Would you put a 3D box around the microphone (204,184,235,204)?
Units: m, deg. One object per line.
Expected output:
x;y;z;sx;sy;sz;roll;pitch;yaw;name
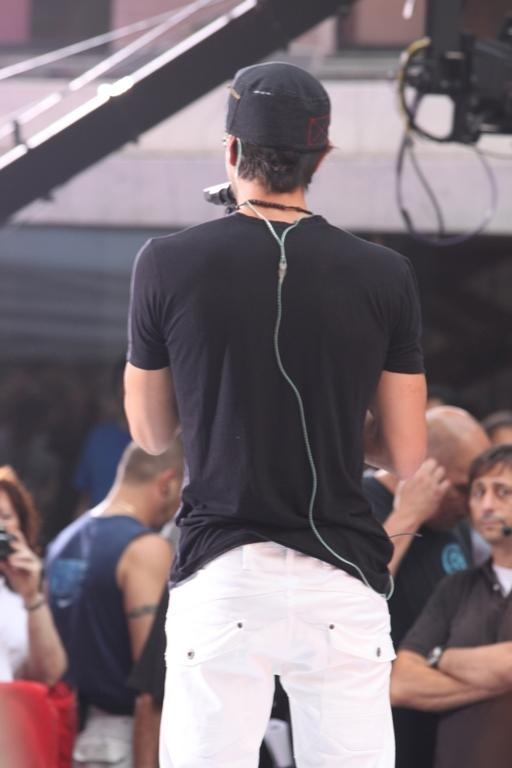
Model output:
-0.071;-0.397;2.920;0.043;0.056;0.023;9;68;4;microphone

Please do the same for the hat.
0.040;-0.539;2.733;0.183;0.144;0.308;12;18;-9;hat
